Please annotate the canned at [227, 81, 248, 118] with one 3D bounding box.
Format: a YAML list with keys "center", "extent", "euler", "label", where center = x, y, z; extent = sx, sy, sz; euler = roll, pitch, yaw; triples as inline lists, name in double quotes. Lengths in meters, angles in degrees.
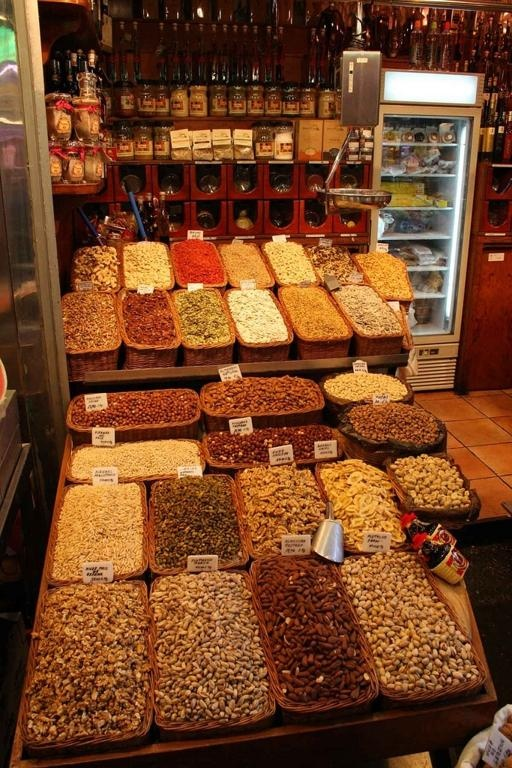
- center: [-0.132, -2.020, 3.722]
  extent: [0.168, 0.270, 0.177]
  euler: [-7, 23, -20]
  label: "canned"

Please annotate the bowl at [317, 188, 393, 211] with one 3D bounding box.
- center: [0.473, -0.901, 2.562]
  extent: [0.275, 0.106, 0.369]
  euler: [-3, 26, -4]
  label: "bowl"

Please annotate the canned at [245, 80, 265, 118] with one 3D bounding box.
- center: [-0.007, -2.037, 3.737]
  extent: [0.189, 0.304, 0.196]
  euler: [-1, 22, -6]
  label: "canned"

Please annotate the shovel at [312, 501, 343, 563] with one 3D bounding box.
- center: [0.242, 0.508, 1.767]
  extent: [0.083, 0.088, 0.196]
  euler: [17, 33, -3]
  label: "shovel"

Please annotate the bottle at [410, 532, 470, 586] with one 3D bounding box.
- center: [0.592, 0.574, 1.703]
  extent: [0.171, 0.160, 0.082]
  euler: [9, 26, 20]
  label: "bottle"

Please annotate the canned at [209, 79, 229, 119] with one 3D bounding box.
- center: [-0.274, -2.038, 3.753]
  extent: [0.137, 0.207, 0.090]
  euler: [-2, 25, -2]
  label: "canned"

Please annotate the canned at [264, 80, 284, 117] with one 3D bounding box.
- center: [0.127, -2.040, 3.731]
  extent: [0.168, 0.266, 0.174]
  euler: [4, 19, 10]
  label: "canned"

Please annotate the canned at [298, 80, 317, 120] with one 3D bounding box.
- center: [0.397, -2.101, 3.890]
  extent: [0.174, 0.205, 0.073]
  euler: [-22, 32, -37]
  label: "canned"

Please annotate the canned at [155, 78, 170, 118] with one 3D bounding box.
- center: [-0.664, -2.013, 3.696]
  extent: [0.105, 0.215, 0.082]
  euler: [-3, 25, -4]
  label: "canned"

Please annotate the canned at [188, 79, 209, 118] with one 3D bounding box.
- center: [-0.414, -2.007, 3.707]
  extent: [0.136, 0.214, 0.109]
  euler: [-5, 25, -8]
  label: "canned"

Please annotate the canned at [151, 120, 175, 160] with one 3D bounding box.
- center: [-0.657, -1.716, 3.686]
  extent: [0.141, 0.235, 0.089]
  euler: [-5, 25, -9]
  label: "canned"

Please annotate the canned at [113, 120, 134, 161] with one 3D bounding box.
- center: [-0.920, -1.692, 3.623]
  extent: [0.137, 0.248, 0.105]
  euler: [-6, 25, -11]
  label: "canned"

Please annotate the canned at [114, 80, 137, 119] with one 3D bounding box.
- center: [-0.918, -2.001, 3.670]
  extent: [0.157, 0.225, 0.133]
  euler: [-14, 27, -25]
  label: "canned"
